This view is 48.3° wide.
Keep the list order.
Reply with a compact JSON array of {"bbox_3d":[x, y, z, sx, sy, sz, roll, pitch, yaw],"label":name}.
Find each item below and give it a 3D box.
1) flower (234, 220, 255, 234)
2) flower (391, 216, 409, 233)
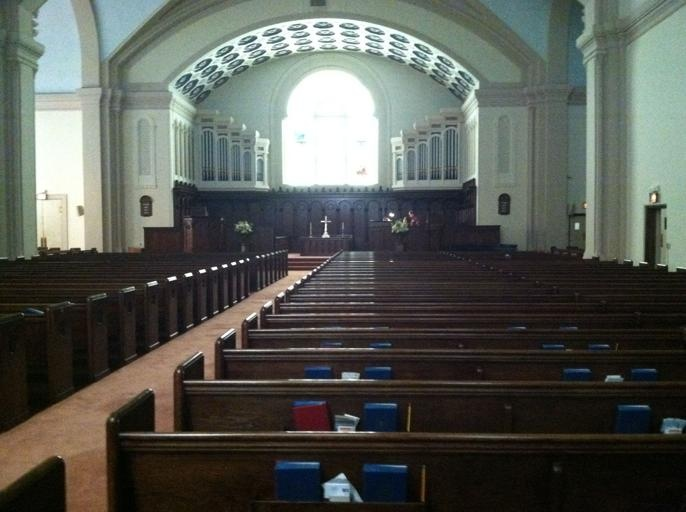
[{"bbox_3d":[-2.988,-0.850,23.082,0.552,0.430,0.544,0,9,1],"label":"flower"},{"bbox_3d":[1.633,-0.873,21.271,0.507,0.361,0.492,-1,0,-8],"label":"flower"}]
